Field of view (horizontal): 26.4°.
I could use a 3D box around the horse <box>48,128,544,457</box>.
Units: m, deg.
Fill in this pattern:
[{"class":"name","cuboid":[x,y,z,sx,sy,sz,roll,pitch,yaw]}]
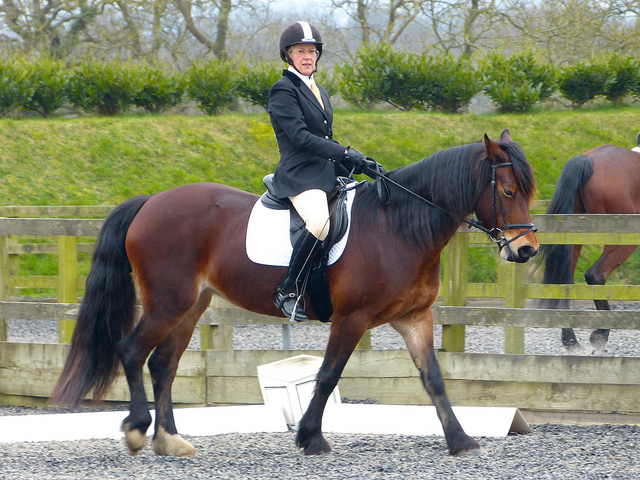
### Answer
[{"class":"horse","cuboid":[-2.214,0.619,23.727,11.753,6.310,3.098,1,-1,5]}]
